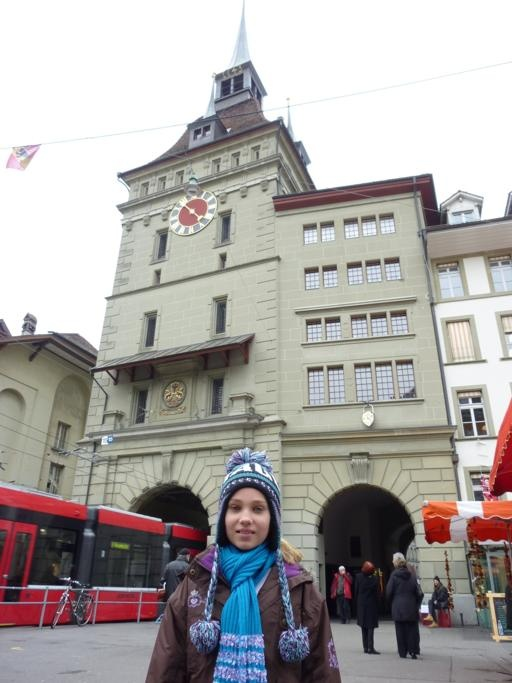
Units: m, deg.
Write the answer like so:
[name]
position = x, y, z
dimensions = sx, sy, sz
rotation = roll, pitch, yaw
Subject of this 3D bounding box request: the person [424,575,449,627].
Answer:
[person]
position = 6.962, 9.868, 17.217
dimensions = 0.658, 1.812, 1.194
rotation = 4, -5, 17

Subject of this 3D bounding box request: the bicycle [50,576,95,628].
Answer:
[bicycle]
position = -5.396, 7.799, 13.440
dimensions = 0.834, 1.069, 1.738
rotation = -17, -38, 5

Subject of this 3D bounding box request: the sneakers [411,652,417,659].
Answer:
[sneakers]
position = 3.249, 6.418, 9.315
dimensions = 0.089, 0.092, 0.167
rotation = -2, -4, 3
